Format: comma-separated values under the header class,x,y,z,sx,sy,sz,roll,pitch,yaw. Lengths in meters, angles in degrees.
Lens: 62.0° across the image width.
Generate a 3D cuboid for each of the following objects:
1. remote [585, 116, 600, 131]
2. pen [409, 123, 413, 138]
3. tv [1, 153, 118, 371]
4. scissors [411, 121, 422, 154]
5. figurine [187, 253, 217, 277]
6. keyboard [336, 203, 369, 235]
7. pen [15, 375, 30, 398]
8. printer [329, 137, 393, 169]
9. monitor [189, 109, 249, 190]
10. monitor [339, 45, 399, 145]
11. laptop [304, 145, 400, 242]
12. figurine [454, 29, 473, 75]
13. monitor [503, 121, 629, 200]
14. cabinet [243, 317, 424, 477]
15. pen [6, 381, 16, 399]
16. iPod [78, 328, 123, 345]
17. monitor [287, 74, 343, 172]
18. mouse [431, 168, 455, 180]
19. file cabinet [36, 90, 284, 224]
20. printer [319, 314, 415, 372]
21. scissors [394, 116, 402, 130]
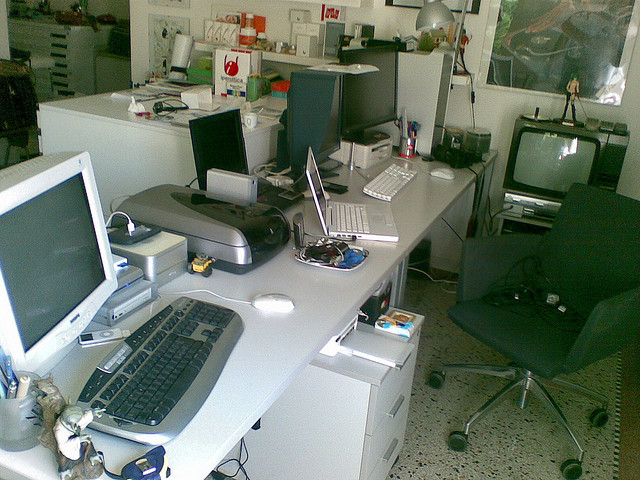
class,x,y,z,sx,sy,sz,roll,pitch,yaw
remote,1.557,-0.682,3.046,0.107,0.026,0.102,12,50,17
pen,0.537,-0.650,3.141,0.012,0.082,0.012,4,4,-1
tv,-0.673,0.074,1.370,0.223,0.432,0.380,11,42,2
scissors,0.567,-0.621,3.198,0.052,0.176,0.111,13,25,19
figurine,-0.414,0.085,1.850,0.074,0.057,0.075,6,30,12
keyboard,0.136,-0.093,2.276,0.110,0.008,0.210,8,32,5
pen,-0.669,0.332,1.197,0.014,0.061,0.014,3,33,-17
printer,0.243,-0.547,3.096,0.278,0.127,0.362,21,30,30
monitor,-0.421,-0.404,2.205,0.121,0.340,0.299,10,24,19
monitor,0.243,-0.792,2.917,0.189,0.494,0.561,16,28,33
laptop,0.148,-0.150,2.279,0.418,0.299,0.409,3,30,-1
figurine,0.900,-1.205,3.352,0.112,0.316,0.068,6,46,17
monitor,1.446,-0.417,3.233,0.765,0.541,0.423,15,26,21
cabinet,0.052,0.657,2.104,0.498,0.633,0.499,15,24,23
pen,-0.691,0.337,1.193,0.020,0.030,0.024,-10,27,-29
iPod,-0.625,0.273,1.510,0.077,0.013,0.046,-7,31,-21
monitor,-0.030,-0.572,2.516,0.246,0.458,0.386,22,37,28
mouse,0.681,-0.382,2.956,0.130,0.042,0.142,9,25,10
file cabinet,-0.908,-0.537,2.829,1.211,0.861,0.676,19,35,32
printer,0.156,0.361,1.851,0.322,0.137,0.219,12,22,23
scissors,0.473,-0.719,3.240,0.040,0.055,0.034,7,-18,25
